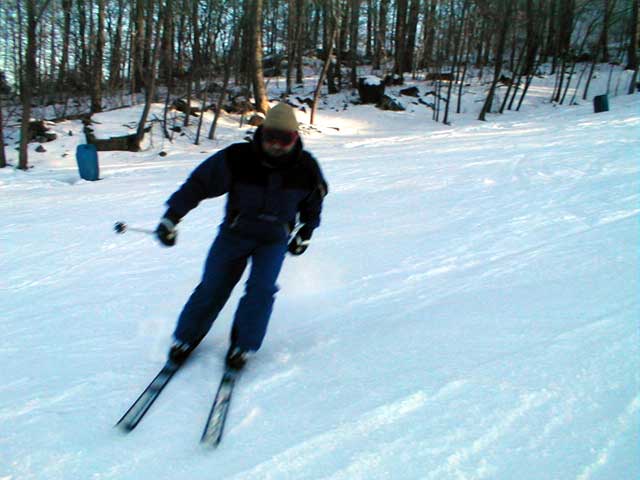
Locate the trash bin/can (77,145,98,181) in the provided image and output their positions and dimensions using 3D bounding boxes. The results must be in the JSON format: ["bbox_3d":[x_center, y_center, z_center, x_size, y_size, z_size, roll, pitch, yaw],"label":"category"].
[{"bbox_3d":[-4.817,-1.611,10.297,0.526,0.789,0.497,-1,32,-15],"label":"trash bin/can"}]

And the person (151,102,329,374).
[{"bbox_3d":[-0.578,-0.043,3.994,1.417,2.079,0.863,-3,17,-17],"label":"person"}]

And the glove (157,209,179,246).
[{"bbox_3d":[-1.244,-0.085,4.023,0.178,0.319,0.209,-3,16,-16],"label":"glove"}]

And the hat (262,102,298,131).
[{"bbox_3d":[-0.312,-0.991,3.973,0.220,0.137,0.270,8,18,-9],"label":"hat"}]
